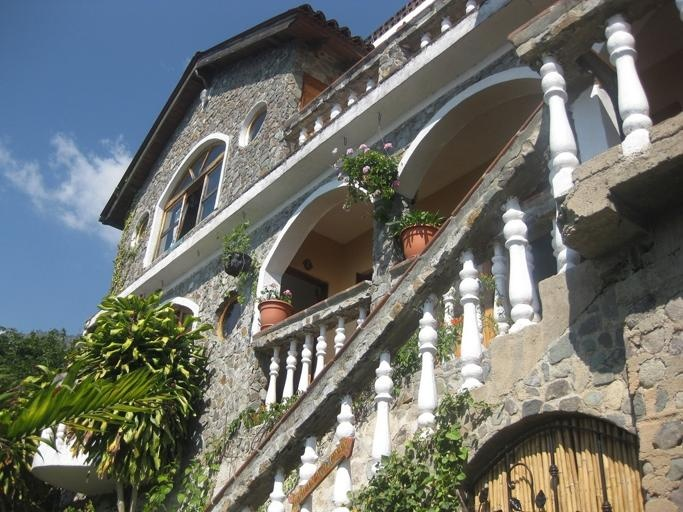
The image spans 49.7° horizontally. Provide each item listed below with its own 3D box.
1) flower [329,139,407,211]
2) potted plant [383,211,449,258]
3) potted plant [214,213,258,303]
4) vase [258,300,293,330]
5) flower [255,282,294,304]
[{"bbox_3d":[0.341,-1.118,10.155,0.750,1.036,0.911,-5,-17,-10],"label":"flower"},{"bbox_3d":[1.007,-0.272,9.327,0.502,0.598,0.556,-16,-16,31],"label":"potted plant"},{"bbox_3d":[-1.736,-0.129,12.260,0.421,0.984,0.467,13,-18,-41],"label":"potted plant"},{"bbox_3d":[-1.012,0.855,11.075,0.387,0.314,0.442,10,-46,-4],"label":"vase"},{"bbox_3d":[-1.025,0.589,11.412,0.366,0.237,0.327,28,-16,-37],"label":"flower"}]
